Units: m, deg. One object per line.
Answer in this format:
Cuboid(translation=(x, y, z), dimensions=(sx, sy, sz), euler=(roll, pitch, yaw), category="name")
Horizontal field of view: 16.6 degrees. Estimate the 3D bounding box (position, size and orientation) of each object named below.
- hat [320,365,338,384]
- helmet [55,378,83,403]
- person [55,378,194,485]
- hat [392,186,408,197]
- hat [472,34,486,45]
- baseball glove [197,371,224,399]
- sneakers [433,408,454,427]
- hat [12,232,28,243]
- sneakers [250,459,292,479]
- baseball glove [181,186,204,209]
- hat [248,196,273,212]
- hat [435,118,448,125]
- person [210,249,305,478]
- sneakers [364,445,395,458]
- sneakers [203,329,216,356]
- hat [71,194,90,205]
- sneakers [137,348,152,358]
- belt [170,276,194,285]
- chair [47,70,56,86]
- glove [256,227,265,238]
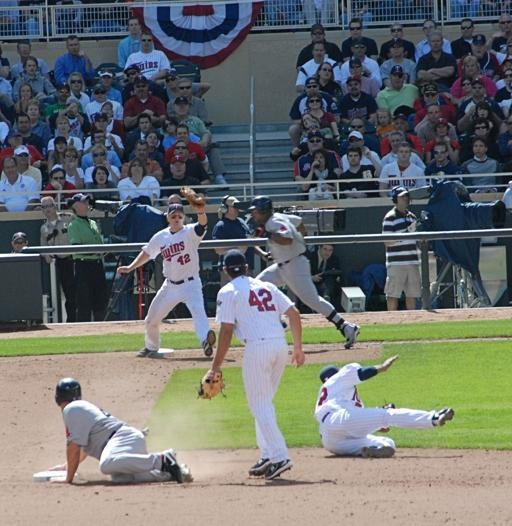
Cuboid(translation=(0.927, 1.400, 22.107), dimensions=(0.181, 0.234, 0.163), euler=(44, 3, -8), category="hat")
Cuboid(translation=(-2.343, 1.582, 21.669), dimensions=(0.215, 0.316, 0.306), euler=(-1, 5, -22), category="helmet")
Cuboid(translation=(-1.758, 2.106, 21.572), dimensions=(1.752, 1.513, 0.793), euler=(-6, -10, 18), category="person")
Cuboid(translation=(2.325, -1.092, 27.651), dimensions=(0.256, 0.190, 0.385), euler=(-3, 3, 6), category="hat")
Cuboid(translation=(4.339, -4.270, 33.452), dimensions=(0.152, 0.143, 0.244), euler=(1, -3, 9), category="hat")
Cuboid(translation=(-0.549, 1.465, 21.469), dimensions=(0.252, 0.399, 0.167), euler=(21, -3, -23), category="baseball glove")
Cuboid(translation=(2.358, 1.915, 21.595), dimensions=(0.341, 0.148, 0.176), euler=(-29, 2, -15), category="sneakers")
Cuboid(translation=(-3.945, -0.424, 29.067), dimensions=(0.169, 0.180, 0.308), euler=(1, -1, -9), category="hat")
Cuboid(translation=(0.192, 2.533, 21.376), dimensions=(0.573, 0.308, 0.220), euler=(-1, -8, 4), category="sneakers")
Cuboid(translation=(-0.885, -0.886, 23.865), dimensions=(0.398, 0.148, 0.231), euler=(45, 13, 14), category="baseball glove")
Cuboid(translation=(0.067, -0.825, 24.563), dimensions=(0.240, 0.151, 0.179), euler=(6, 11, 39), category="hat")
Cuboid(translation=(3.366, -2.518, 31.107), dimensions=(0.174, 0.154, 0.306), euler=(4, 4, 22), category="hat")
Cuboid(translation=(0.019, 1.238, 21.608), dimensions=(1.038, 2.800, 0.840), euler=(-2, 3, 12), category="person")
Cuboid(translation=(1.558, 2.370, 21.838), dimensions=(0.418, 0.177, 0.197), euler=(0, 10, 7), category="sneakers")
Cuboid(translation=(-0.624, 1.176, 24.828), dimensions=(0.127, 0.452, 0.170), euler=(9, -7, -23), category="sneakers")
Cuboid(translation=(-2.851, -0.990, 28.249), dimensions=(0.290, 0.141, 0.206), euler=(-16, 0, 9), category="hat")
Cuboid(translation=(-1.635, 1.340, 25.842), dimensions=(0.245, 0.129, 0.098), euler=(3, 1, 27), category="sneakers")
Cuboid(translation=(-1.068, 0.266, 25.125), dimensions=(0.369, 0.095, 0.076), euler=(-3, 3, 12), category="belt")
Cuboid(translation=(-4.128, -3.699, 35.082), dimensions=(0.226, 0.289, 0.296), euler=(-1, 12, -36), category="chair")
Cuboid(translation=(0.083, -0.436, 24.885), dimensions=(0.112, 0.129, 0.115), euler=(5, 6, 32), category="glove")
